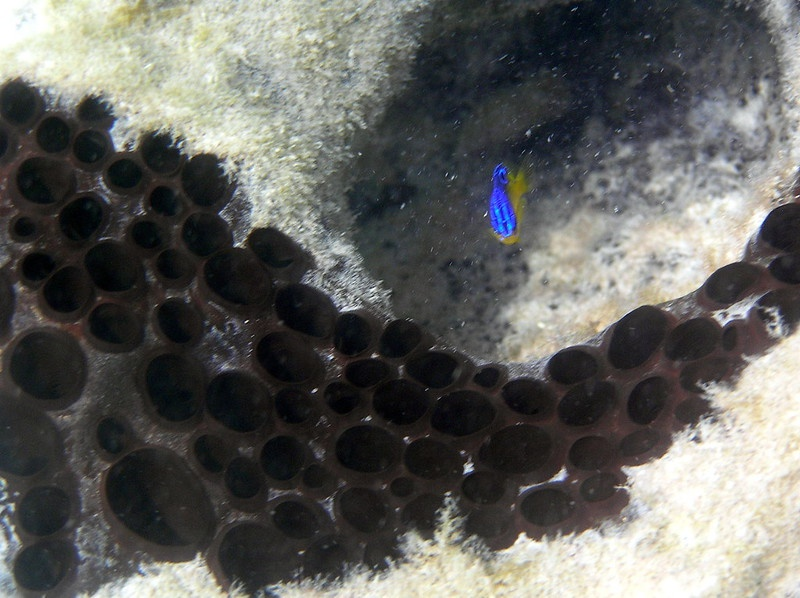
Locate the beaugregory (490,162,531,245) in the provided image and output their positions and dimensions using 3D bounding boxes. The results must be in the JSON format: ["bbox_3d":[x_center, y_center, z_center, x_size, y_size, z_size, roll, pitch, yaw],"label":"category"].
[{"bbox_3d":[0.480,-0.420,4.217,0.205,0.129,0.401,5,95,-5],"label":"beaugregory"}]
